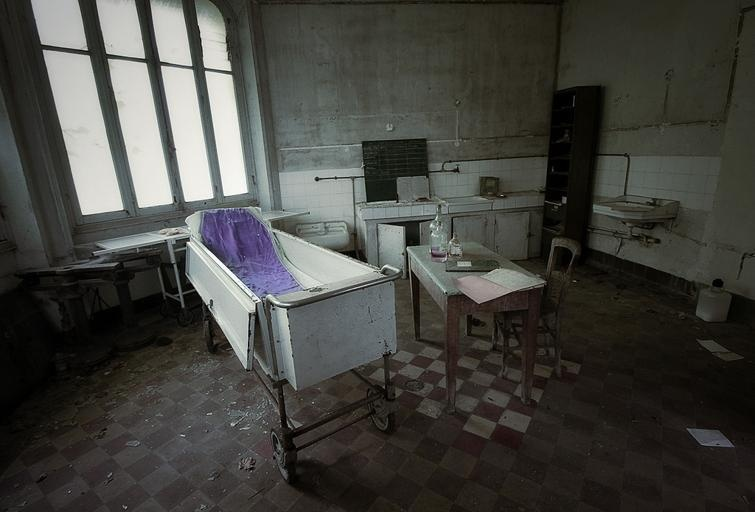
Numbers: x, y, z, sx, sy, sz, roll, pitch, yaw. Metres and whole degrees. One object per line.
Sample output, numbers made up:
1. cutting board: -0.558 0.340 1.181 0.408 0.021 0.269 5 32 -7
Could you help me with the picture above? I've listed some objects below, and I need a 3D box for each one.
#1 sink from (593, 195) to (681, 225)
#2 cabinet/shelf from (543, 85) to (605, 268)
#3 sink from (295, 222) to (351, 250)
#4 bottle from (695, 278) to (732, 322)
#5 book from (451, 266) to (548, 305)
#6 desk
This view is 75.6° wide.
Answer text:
1. sink: 3.283 -0.576 6.292 0.560 0.323 0.986 -13 18 -27
2. cabinet/shelf: 2.694 -0.957 7.216 0.551 2.243 0.435 3 14 11
3. sink: -0.785 -0.228 7.379 0.847 0.520 0.556 -7 17 -9
4. bottle: 3.881 0.503 5.552 0.390 0.463 0.236 -4 18 -1
5. book: 1.118 0.259 4.475 0.452 0.110 0.437 -14 23 -14
6. desk: 0.946 0.611 5.229 0.993 1.104 1.593 -5 16 -10
